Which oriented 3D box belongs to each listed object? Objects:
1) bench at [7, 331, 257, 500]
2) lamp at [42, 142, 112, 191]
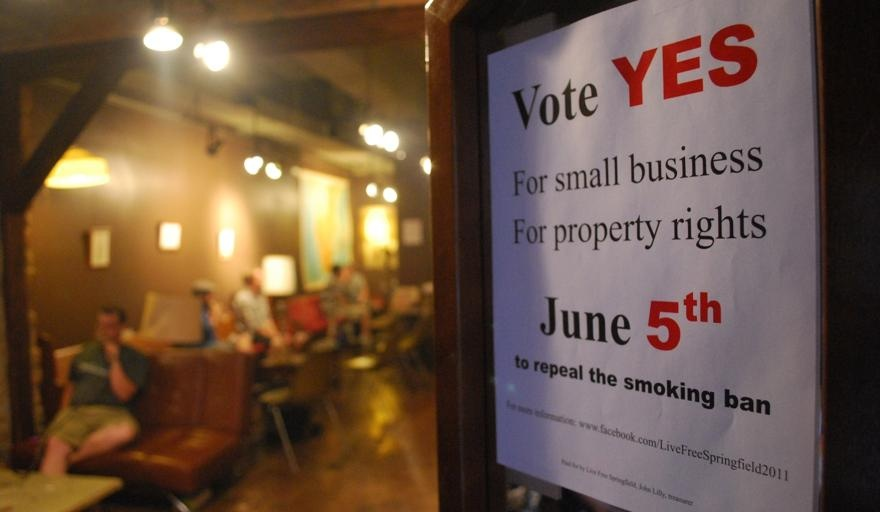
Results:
[{"bbox_3d":[-2.287,1.327,5.489,1.521,1.100,1.455,2,3,-22],"label":"bench"},{"bbox_3d":[-3.935,-0.932,7.562,0.183,0.476,0.744,-1,-4,25],"label":"lamp"}]
